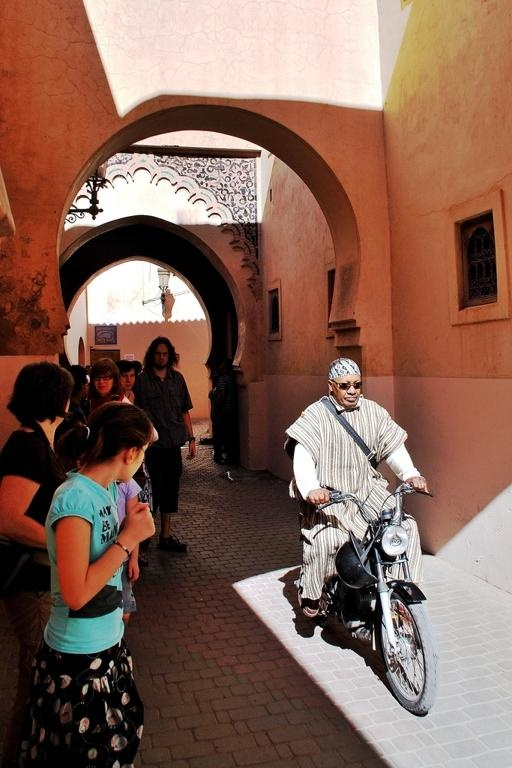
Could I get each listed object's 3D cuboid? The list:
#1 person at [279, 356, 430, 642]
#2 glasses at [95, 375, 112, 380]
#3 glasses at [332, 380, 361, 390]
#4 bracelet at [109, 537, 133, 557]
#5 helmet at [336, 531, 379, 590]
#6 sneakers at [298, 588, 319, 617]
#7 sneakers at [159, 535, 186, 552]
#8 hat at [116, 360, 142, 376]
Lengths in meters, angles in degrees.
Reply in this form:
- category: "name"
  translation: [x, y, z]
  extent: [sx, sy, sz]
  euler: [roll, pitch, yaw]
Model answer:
- category: "person"
  translation: [0.545, 0.611, 3.144]
  extent: [0.711, 1.472, 0.731]
  euler: [-5, 9, -16]
- category: "glasses"
  translation: [-1.134, -0.046, 3.964]
  extent: [0.109, 0.039, 0.036]
  euler: [-1, -3, -16]
- category: "glasses"
  translation: [0.555, 0.013, 3.126]
  extent: [0.149, 0.056, 0.073]
  euler: [-2, -3, -12]
- category: "bracelet"
  translation: [-0.302, 0.374, 1.188]
  extent: [0.033, 0.040, 0.014]
  euler: [-4, 26, 35]
- category: "helmet"
  translation: [0.513, 0.907, 2.706]
  extent: [0.097, 0.246, 0.188]
  euler: [-4, -33, 0]
- category: "sneakers"
  translation: [0.311, 1.306, 3.114]
  extent: [0.144, 0.179, 0.191]
  euler: [2, -6, -4]
- category: "sneakers"
  translation: [-0.827, 1.609, 5.289]
  extent: [0.337, 0.162, 0.120]
  euler: [3, 12, 6]
- category: "hat"
  translation: [-1.261, -0.156, 5.245]
  extent: [0.187, 0.195, 0.144]
  euler: [-13, -6, -31]
